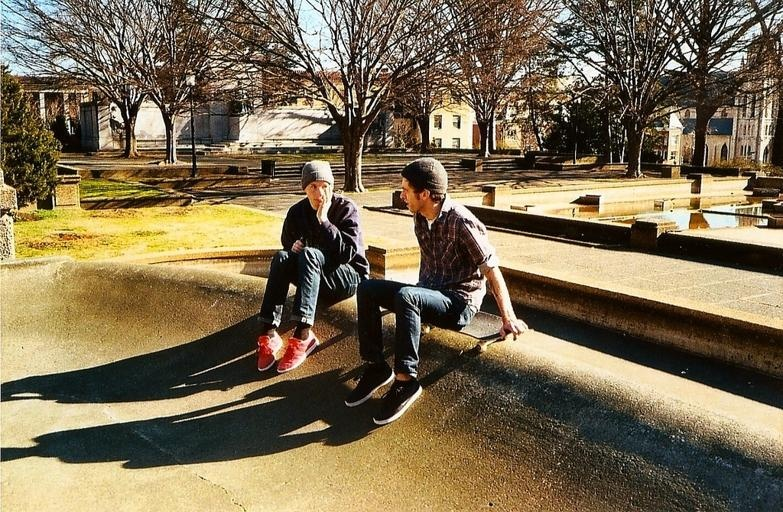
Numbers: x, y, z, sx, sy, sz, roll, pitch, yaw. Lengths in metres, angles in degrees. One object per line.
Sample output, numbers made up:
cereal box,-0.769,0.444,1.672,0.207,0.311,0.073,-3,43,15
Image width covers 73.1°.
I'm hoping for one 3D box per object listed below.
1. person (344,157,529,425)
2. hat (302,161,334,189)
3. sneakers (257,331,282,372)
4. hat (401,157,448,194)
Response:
person,0.362,0.273,4.418,1.452,2.084,1.195,2,-6,39
hat,-0.710,-0.800,5.191,0.309,0.251,0.224,-7,9,-42
sneakers,-1.137,0.876,4.923,0.162,0.193,0.406,-5,23,13
hat,0.291,-0.660,4.296,0.331,0.205,0.271,28,18,19
